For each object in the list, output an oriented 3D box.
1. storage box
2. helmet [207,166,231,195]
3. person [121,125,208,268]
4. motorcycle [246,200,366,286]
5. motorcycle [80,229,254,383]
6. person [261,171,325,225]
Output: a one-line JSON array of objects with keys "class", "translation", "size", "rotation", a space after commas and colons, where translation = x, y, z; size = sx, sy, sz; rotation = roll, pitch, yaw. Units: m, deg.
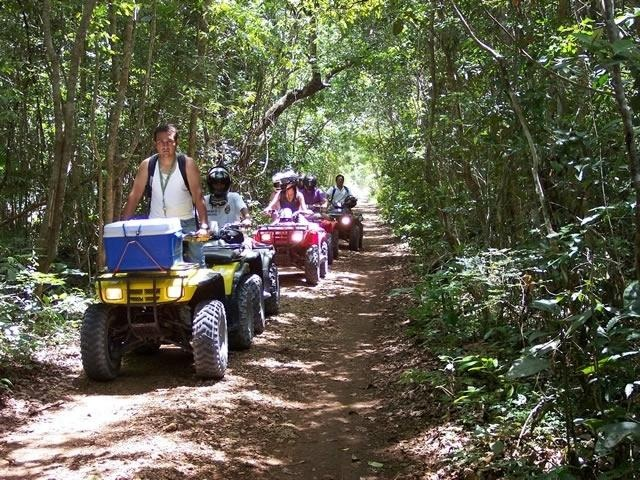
[{"class": "storage box", "translation": [-1.882, 0.028, 5.861], "size": [0.907, 0.525, 0.914], "rotation": [-11, 13, -43]}, {"class": "helmet", "translation": [-1.404, -0.832, 7.578], "size": [0.282, 0.402, 0.377], "rotation": [4, 0, -6]}, {"class": "person", "translation": [-1.754, -0.287, 6.337], "size": [1.005, 2.082, 0.855], "rotation": [3, 22, -5]}, {"class": "motorcycle", "translation": [-0.398, 0.040, 12.321], "size": [1.369, 1.376, 2.729], "rotation": [-1, 6, 16]}, {"class": "motorcycle", "translation": [-1.707, 0.630, 6.386], "size": [1.094, 1.310, 1.961], "rotation": [-2, -6, 4]}, {"class": "person", "translation": [-0.618, -0.871, 11.909], "size": [0.770, 0.785, 1.349], "rotation": [-3, -3, 4]}]
